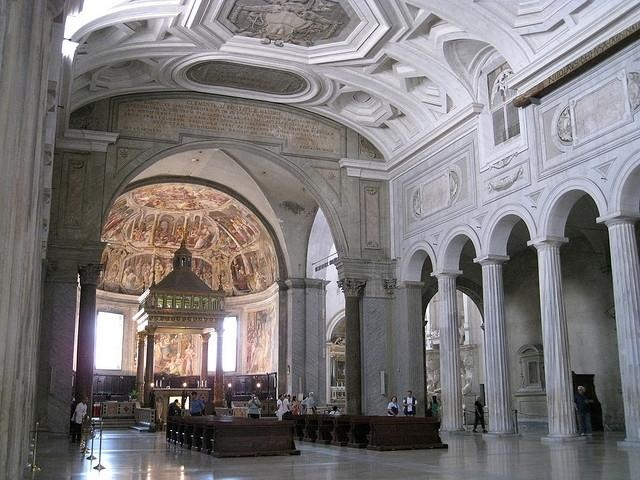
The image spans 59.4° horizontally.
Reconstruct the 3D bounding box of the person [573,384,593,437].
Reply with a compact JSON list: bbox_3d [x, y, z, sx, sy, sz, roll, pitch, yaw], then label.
[{"bbox_3d":[7.740,5.002,16.510,0.435,1.359,1.417,-7,-18,21],"label":"person"}]

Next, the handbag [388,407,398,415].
[{"bbox_3d":[2.143,5.045,16.539,0.251,0.240,0.136,7,-27,0],"label":"handbag"}]

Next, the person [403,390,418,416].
[{"bbox_3d":[2.697,4.927,16.866,0.344,0.720,0.997,-2,-17,5],"label":"person"}]

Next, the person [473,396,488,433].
[{"bbox_3d":[5.546,6.150,19.751,0.415,1.148,2.605,-5,-17,14],"label":"person"}]

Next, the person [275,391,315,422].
[{"bbox_3d":[-0.962,6.378,21.462,0.875,1.102,2.629,9,-15,-32],"label":"person"}]
